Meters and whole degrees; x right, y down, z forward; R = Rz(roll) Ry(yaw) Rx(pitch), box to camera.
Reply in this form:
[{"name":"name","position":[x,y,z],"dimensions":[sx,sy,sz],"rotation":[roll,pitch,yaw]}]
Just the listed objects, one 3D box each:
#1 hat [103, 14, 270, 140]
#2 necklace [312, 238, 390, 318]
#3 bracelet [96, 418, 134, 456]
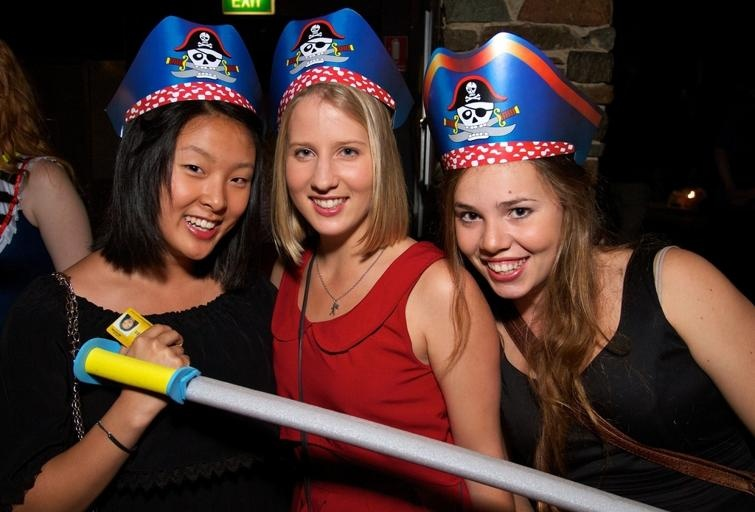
[{"name":"hat","position":[-0.836,-0.761,2.905],"dimensions":[0.649,0.435,0.428],"rotation":[-2,3,-16]},{"name":"necklace","position":[-0.126,0.126,2.877],"dimensions":[0.279,0.091,0.300],"rotation":[1,56,37]},{"name":"bracelet","position":[-1.012,0.697,2.490],"dimensions":[0.033,0.124,0.103],"rotation":[-51,20,-20]}]
